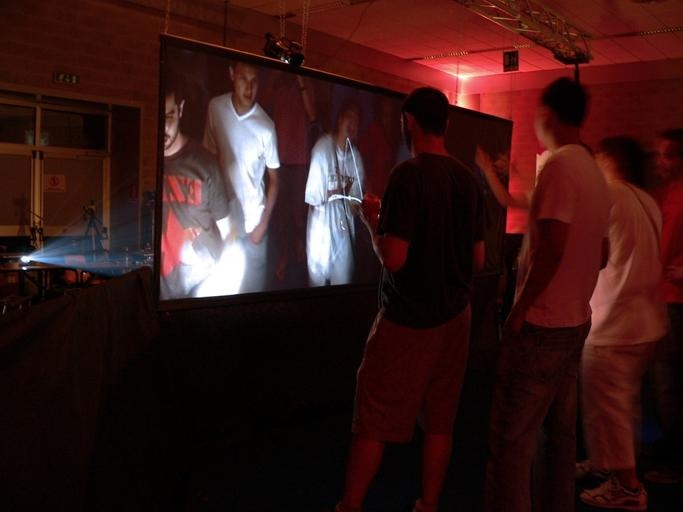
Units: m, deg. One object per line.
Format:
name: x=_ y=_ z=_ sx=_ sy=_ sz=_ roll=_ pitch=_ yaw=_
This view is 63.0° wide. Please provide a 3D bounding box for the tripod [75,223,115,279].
tripod: x=-3.313 y=-0.174 z=7.582 sx=0.238 sy=1.217 sz=0.250 roll=0 pitch=-5 yaw=0
